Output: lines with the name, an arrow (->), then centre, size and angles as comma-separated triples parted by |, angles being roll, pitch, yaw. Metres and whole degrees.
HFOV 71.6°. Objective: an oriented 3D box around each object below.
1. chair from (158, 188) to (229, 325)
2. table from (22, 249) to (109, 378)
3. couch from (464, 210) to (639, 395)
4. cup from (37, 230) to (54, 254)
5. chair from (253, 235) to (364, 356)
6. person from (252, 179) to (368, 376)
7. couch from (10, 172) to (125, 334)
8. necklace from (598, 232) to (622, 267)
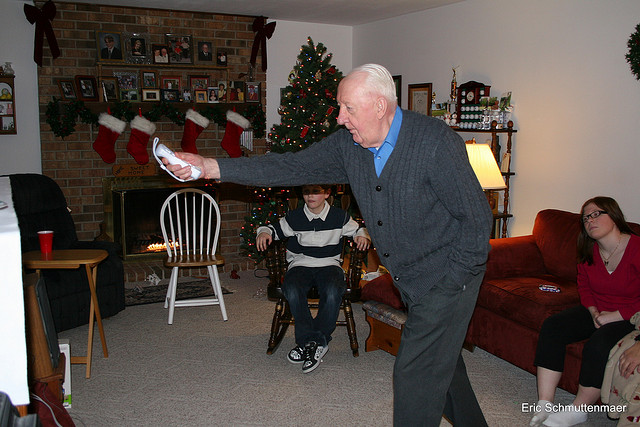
chair -> -1.198, 0.374, 4.209 | 0.582, 1.187, 0.557 | -3, 5, -20
table -> -1.803, 0.703, 3.243 | 0.520, 0.923, 0.424 | -8, 12, -28
couch -> 1.559, 0.639, 2.961 | 0.645, 0.846, 1.122 | 6, 8, -13
cup -> -1.933, 0.201, 3.129 | 0.078, 0.178, 0.205 | -10, 13, -34
chair -> -0.044, 0.481, 3.767 | 0.825, 1.255, 0.908 | 1, 11, 4
person -> -0.039, 0.380, 3.531 | 0.852, 1.431, 0.811 | 0, -7, 1
couch -> -2.432, 0.329, 4.039 | 1.243, 1.252, 1.248 | -3, 9, -32
necklace -> 1.940, 0.236, 2.953 | 0.116, 0.216, 0.057 | 4, 12, 26
